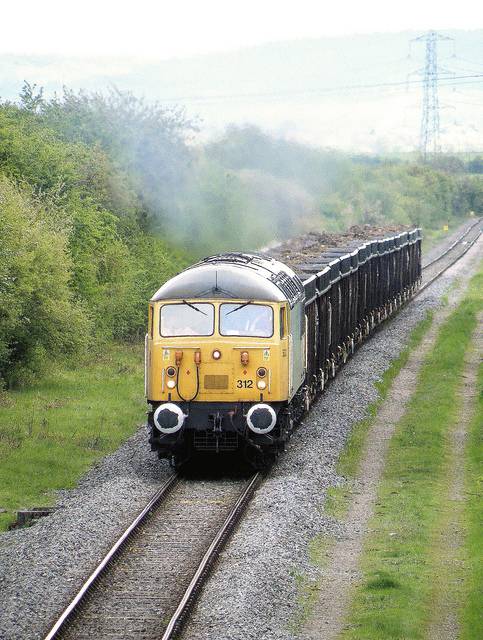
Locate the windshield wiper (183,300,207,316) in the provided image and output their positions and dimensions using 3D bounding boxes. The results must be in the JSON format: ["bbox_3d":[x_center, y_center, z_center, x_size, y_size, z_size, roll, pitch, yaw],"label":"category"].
[{"bbox_3d":[-0.802,-0.225,13.257,0.401,0.062,0.057,31,16,3],"label":"windshield wiper"}]

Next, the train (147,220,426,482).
[{"bbox_3d":[3.425,-0.921,26.776,3.176,5.499,29.935,0,8,11],"label":"train"}]
